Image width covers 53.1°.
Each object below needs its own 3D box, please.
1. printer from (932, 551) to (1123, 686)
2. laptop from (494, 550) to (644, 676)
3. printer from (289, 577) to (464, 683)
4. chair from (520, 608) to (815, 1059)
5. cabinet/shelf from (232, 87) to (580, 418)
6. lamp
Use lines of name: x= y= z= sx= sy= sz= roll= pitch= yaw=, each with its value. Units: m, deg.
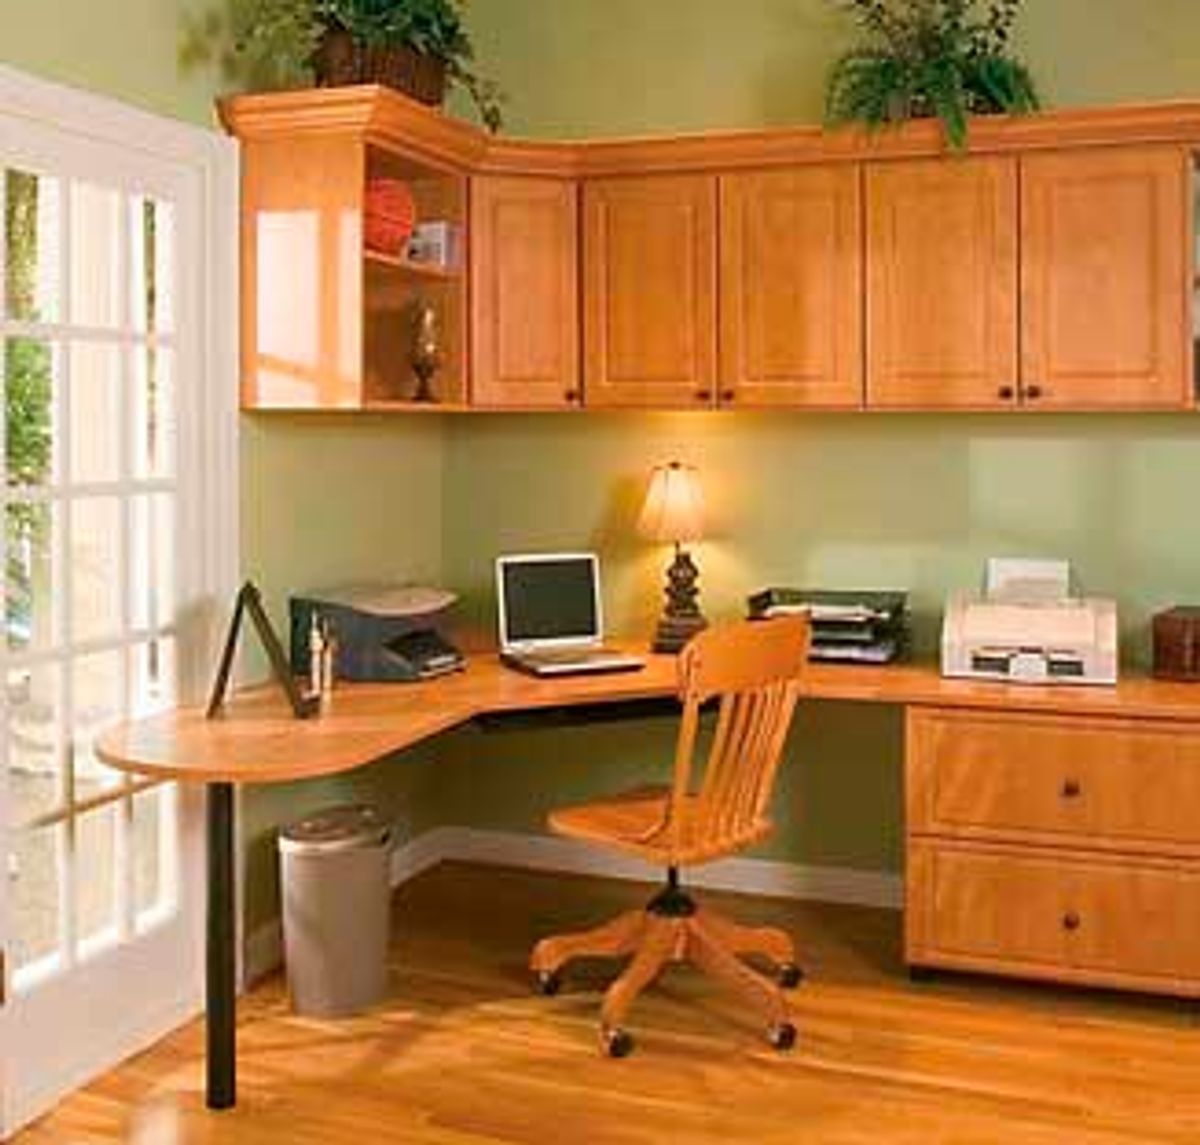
printer: x=1.193 y=0.105 z=3.306 sx=0.407 sy=0.245 sz=0.402 roll=0 pitch=3 yaw=20
laptop: x=-0.084 y=0.124 z=3.362 sx=0.334 sy=0.277 sz=0.339 roll=-3 pitch=11 yaw=-27
printer: x=-0.612 y=0.167 z=3.352 sx=0.401 sy=0.195 sz=0.420 roll=3 pitch=7 yaw=28
chair: x=0.188 y=0.614 z=2.982 sx=0.705 sy=0.981 sz=0.721 roll=3 pitch=4 yaw=45
cabinet/shelf: x=-0.495 y=-0.816 z=3.269 sx=0.500 sy=0.769 sz=0.865 roll=4 pitch=7 yaw=32
lamp: x=0.243 y=-0.037 z=3.677 sx=0.309 sy=0.544 sz=0.268 roll=-1 pitch=0 yaw=4
